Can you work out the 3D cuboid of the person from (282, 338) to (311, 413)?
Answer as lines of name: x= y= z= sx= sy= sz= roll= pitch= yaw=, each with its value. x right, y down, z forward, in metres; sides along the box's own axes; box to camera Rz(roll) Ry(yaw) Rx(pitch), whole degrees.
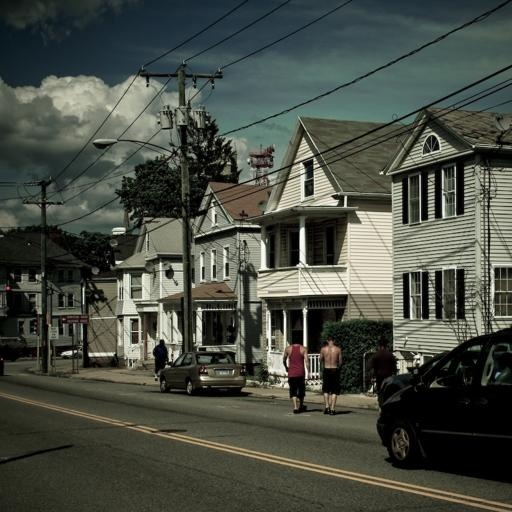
person: x=0.908 y=2.819 z=20.752 sx=0.515 sy=1.605 sz=0.796 roll=1 pitch=-7 yaw=3

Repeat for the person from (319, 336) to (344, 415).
person: x=1.732 y=2.773 z=20.804 sx=0.498 sy=1.748 sz=1.231 roll=1 pitch=-7 yaw=4

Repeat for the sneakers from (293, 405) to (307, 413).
sneakers: x=1.008 y=3.522 z=20.625 sx=0.119 sy=0.152 sz=0.377 roll=1 pitch=-1 yaw=33
